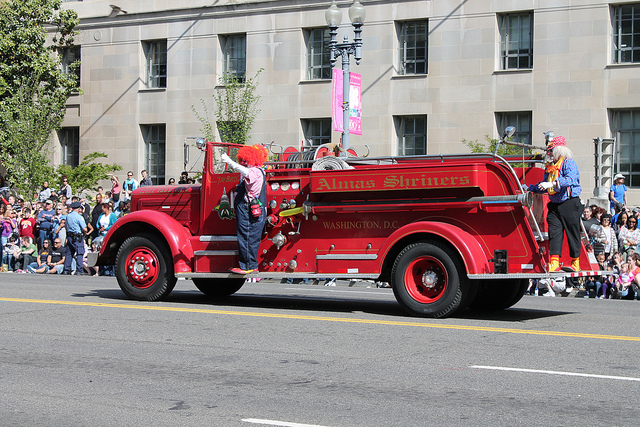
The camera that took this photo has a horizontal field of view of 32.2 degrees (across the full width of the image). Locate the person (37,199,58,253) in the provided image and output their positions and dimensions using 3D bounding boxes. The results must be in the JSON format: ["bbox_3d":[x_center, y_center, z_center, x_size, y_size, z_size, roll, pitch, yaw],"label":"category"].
[{"bbox_3d":[-8.528,0.400,34.351,0.695,1.727,0.623,-5,26,-28],"label":"person"}]

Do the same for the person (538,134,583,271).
[{"bbox_3d":[5.070,-0.183,22.958,0.949,2.667,1.394,4,11,12],"label":"person"}]

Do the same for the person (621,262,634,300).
[{"bbox_3d":[7.783,1.666,27.838,0.261,0.877,0.286,-1,11,-12],"label":"person"}]

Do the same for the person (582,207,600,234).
[{"bbox_3d":[7.092,0.188,28.852,0.585,0.667,0.247,-15,-39,18],"label":"person"}]

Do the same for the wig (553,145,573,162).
[{"bbox_3d":[5.101,-1.269,23.144,0.386,0.307,0.286,3,11,8],"label":"wig"}]
